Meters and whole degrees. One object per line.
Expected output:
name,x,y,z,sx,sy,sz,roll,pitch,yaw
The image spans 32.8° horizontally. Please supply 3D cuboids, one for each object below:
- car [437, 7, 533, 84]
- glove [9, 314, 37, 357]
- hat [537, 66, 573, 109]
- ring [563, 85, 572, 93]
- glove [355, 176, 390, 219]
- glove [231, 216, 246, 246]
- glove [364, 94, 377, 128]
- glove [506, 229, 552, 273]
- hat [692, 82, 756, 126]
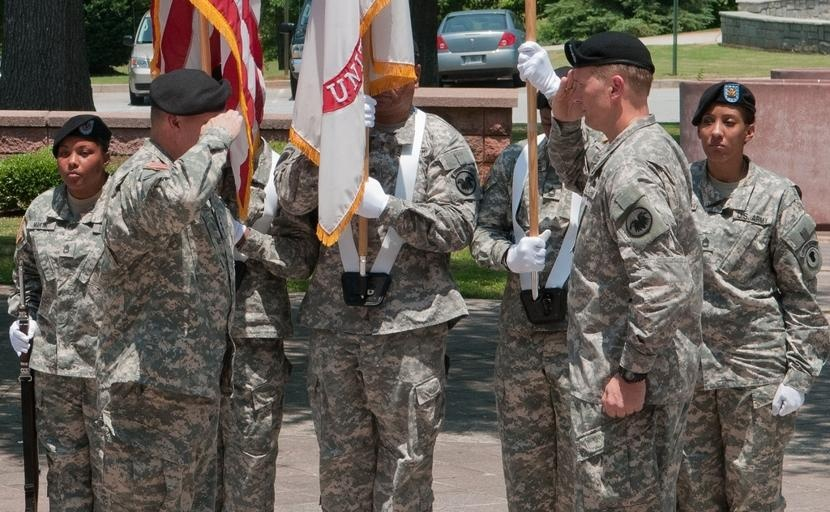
car,1.452,-4.461,30.242,1.602,1.108,2.758,-1,12,9
glove,-2.962,0.616,10.724,0.256,0.275,0.099,-3,-8,-4
hat,1.087,-1.283,10.938,0.288,0.335,0.353,4,10,39
ring,1.113,-1.211,10.317,0.060,0.050,0.015,3,53,6
glove,-0.362,-0.436,10.631,0.306,0.275,0.209,10,13,-15
glove,-1.344,-0.176,10.726,0.144,0.205,0.233,-4,5,0
glove,-0.341,-1.066,10.562,0.082,0.185,0.206,3,0,0
glove,0.910,-0.015,10.634,0.241,0.237,0.385,7,7,29
hat,2.391,-1.148,10.863,0.363,0.191,0.406,0,-3,17
